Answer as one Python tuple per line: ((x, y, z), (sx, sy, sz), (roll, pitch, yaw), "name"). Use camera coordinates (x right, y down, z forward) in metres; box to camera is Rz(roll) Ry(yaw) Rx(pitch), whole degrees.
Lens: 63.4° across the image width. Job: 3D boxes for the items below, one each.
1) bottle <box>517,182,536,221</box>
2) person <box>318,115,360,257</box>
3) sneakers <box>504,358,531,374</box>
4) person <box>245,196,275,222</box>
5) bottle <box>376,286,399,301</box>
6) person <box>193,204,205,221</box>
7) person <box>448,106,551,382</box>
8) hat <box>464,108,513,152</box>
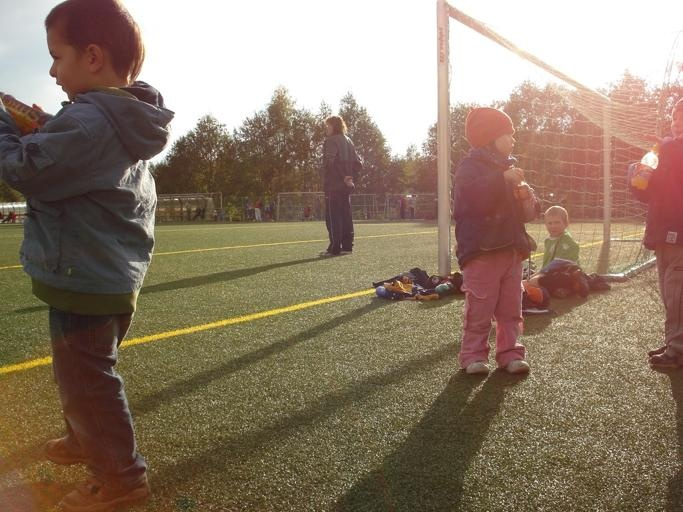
((1.010, -0.291, 2.991), (0.063, 0.188, 0.135), (-10, 15, 12), "bottle")
((0.024, -1.140, 8.595), (0.602, 2.138, 1.439), (-1, 7, 0), "person")
((0.922, 0.578, 2.887), (0.131, 0.061, 0.083), (1, 8, 14), "sneakers")
((-5.438, -3.116, 36.654), (1.069, 1.511, 2.145), (0, 9, 14), "person")
((0.392, 0.319, 4.756), (0.142, 0.072, 0.284), (-5, 9, -26), "bottle")
((-7.782, -2.377, 30.280), (0.231, 0.746, 0.744), (5, 9, 40), "person")
((0.841, -0.117, 3.013), (0.479, 1.404, 0.454), (-2, 7, -8), "person")
((0.844, -0.725, 3.175), (0.243, 0.216, 0.211), (-5, 12, 6), "hat")
